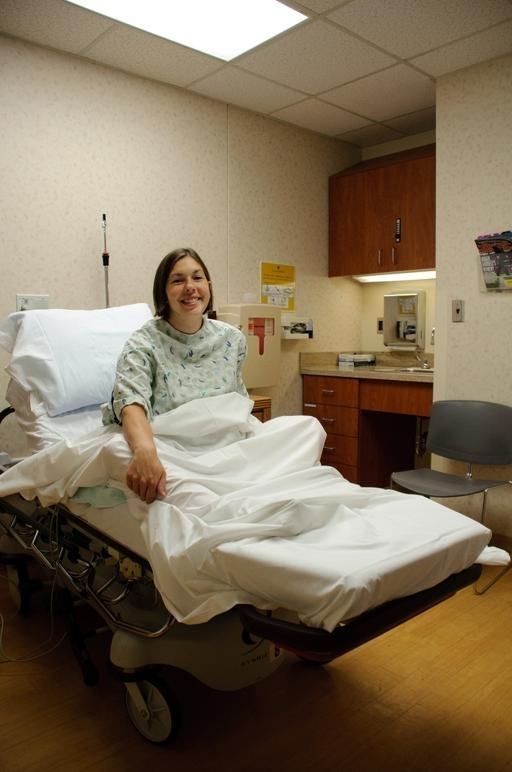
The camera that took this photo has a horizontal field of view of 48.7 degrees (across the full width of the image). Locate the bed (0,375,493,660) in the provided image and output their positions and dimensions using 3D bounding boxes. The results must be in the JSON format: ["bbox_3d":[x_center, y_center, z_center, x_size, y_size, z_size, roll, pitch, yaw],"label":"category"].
[{"bbox_3d":[-0.048,0.274,1.297,0.790,0.247,0.596,10,15,44],"label":"bed"}]

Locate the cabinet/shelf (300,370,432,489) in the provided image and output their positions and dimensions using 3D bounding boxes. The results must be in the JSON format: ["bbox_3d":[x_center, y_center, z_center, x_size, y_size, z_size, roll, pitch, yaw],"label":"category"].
[{"bbox_3d":[0.620,0.342,4.080,1.054,0.729,0.551,5,-5,-27],"label":"cabinet/shelf"}]

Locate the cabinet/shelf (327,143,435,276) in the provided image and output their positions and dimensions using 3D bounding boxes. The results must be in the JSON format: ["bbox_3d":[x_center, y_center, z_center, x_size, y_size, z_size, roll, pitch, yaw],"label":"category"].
[{"bbox_3d":[0.910,-1.231,4.203,0.860,0.703,0.342,-7,19,-10],"label":"cabinet/shelf"}]
